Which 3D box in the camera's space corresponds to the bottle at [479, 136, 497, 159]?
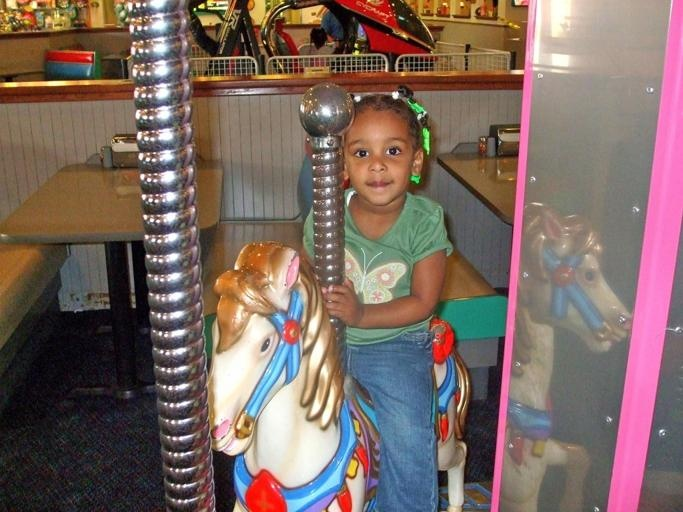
[{"bbox_3d":[0.889,-0.660,3.431,0.110,0.138,0.118,-1,13,0],"label":"bottle"}]
